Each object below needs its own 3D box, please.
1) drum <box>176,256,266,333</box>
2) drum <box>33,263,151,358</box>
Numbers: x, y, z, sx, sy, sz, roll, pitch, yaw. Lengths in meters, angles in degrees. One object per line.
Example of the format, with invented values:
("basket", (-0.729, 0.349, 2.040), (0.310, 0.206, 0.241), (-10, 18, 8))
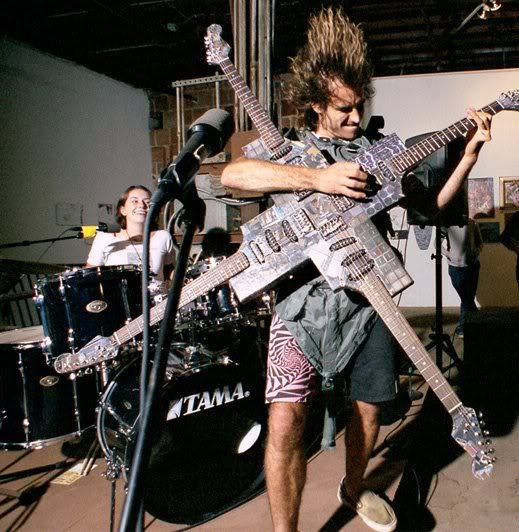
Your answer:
("drum", (-0.212, 0.203, 2.845), (0.464, 0.321, 0.163), (-9, -2, 35))
("drum", (-0.982, 0.229, 3.282), (0.643, 0.429, 0.606), (-11, -4, -1))
